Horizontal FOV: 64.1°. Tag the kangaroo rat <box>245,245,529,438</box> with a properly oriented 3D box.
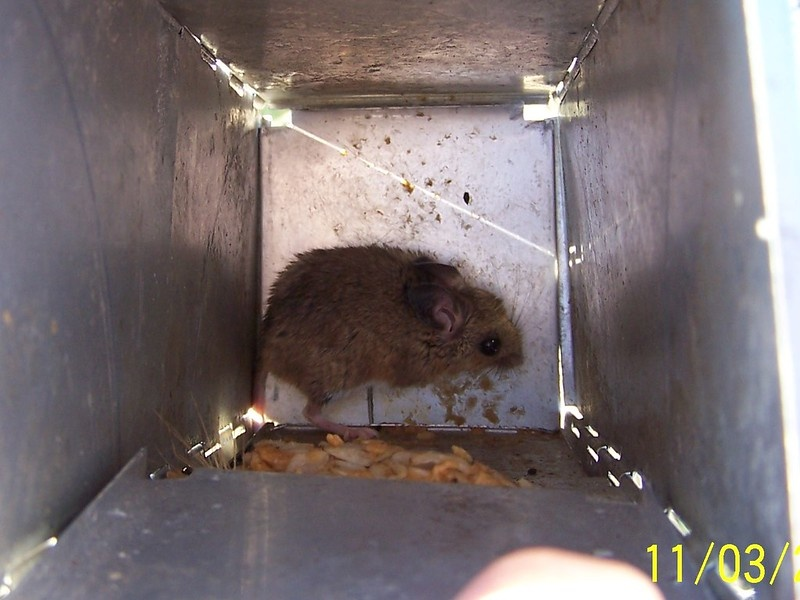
[{"bbox_3d":[-0.042,0.100,2.222,0.957,0.451,0.640,1,-72,-4],"label":"kangaroo rat"}]
